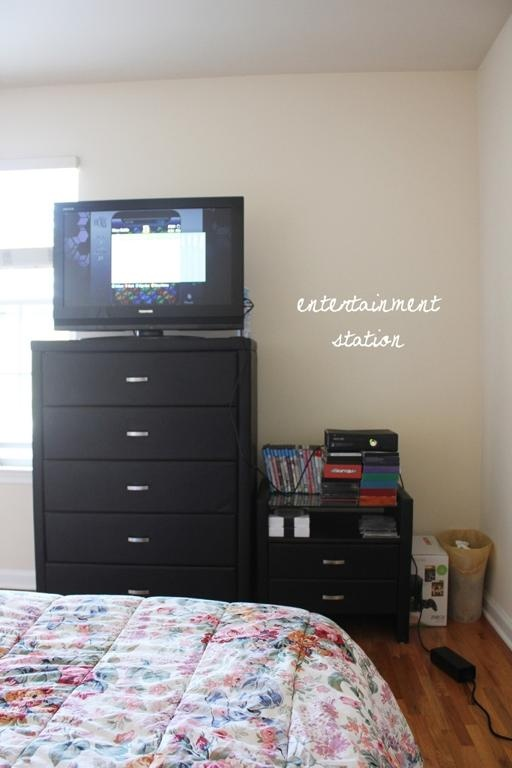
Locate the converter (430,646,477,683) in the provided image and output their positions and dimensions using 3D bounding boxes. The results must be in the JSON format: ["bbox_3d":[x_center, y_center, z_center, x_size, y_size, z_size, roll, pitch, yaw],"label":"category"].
[{"bbox_3d":[0.681,0.957,2.304,0.095,0.060,0.188,0,7,-18],"label":"converter"}]

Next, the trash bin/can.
[{"bbox_3d":[0.822,0.792,2.820,0.281,0.375,0.292,-1,6,-1],"label":"trash bin/can"}]

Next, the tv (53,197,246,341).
[{"bbox_3d":[-0.416,-0.467,2.669,0.567,0.413,0.078,0,3,4],"label":"tv"}]
